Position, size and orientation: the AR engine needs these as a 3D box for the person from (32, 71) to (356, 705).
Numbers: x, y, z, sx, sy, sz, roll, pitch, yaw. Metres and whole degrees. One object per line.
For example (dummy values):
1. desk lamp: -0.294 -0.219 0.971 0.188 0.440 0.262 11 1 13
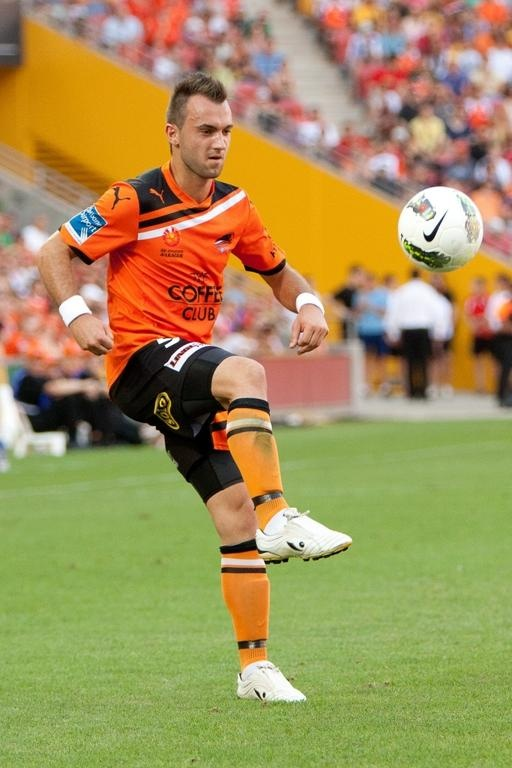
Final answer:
1. person: -0.160 -0.008 2.525 0.859 1.756 1.009 0 7 6

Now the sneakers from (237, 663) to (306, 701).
1. sneakers: 0.027 0.818 2.392 0.217 0.080 0.079 -5 -5 42

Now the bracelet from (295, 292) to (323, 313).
1. bracelet: 0.165 -0.267 2.776 0.088 0.077 0.085 -1 -2 -2

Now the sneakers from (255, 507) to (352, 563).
1. sneakers: 0.114 0.375 2.111 0.266 0.111 0.097 -12 -3 37

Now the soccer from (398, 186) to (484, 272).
1. soccer: 0.564 -0.495 2.852 0.317 0.285 0.277 -6 9 0

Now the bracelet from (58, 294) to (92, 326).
1. bracelet: -0.503 -0.208 2.362 0.085 0.062 0.094 -24 -12 -40
